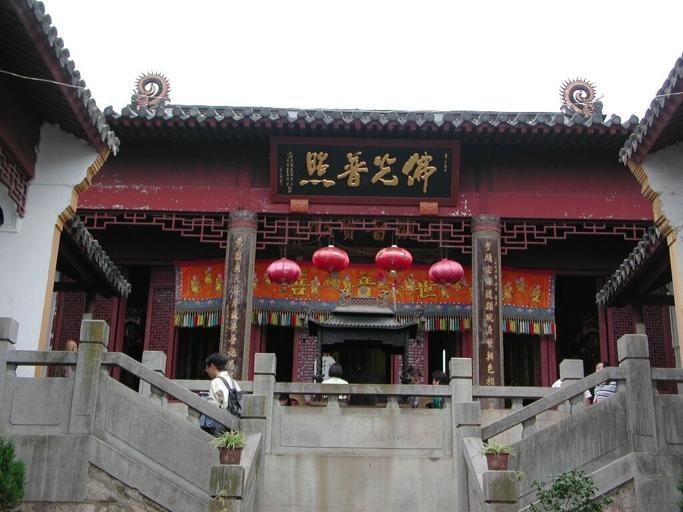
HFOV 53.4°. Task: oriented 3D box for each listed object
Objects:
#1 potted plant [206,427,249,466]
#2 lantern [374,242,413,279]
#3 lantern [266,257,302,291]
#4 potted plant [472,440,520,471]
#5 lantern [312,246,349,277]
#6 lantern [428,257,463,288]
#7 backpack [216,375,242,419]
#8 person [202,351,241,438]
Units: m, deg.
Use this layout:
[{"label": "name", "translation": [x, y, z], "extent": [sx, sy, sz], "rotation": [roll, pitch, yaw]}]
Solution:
[{"label": "potted plant", "translation": [-1.227, 2.073, 7.363], "extent": [0.353, 0.322, 0.378], "rotation": [1, -23, -3]}, {"label": "lantern", "translation": [0.936, 0.064, 12.109], "extent": [0.525, 0.454, 0.536], "rotation": [-3, -17, 16]}, {"label": "lantern", "translation": [-1.079, 0.348, 12.752], "extent": [0.522, 0.598, 0.539], "rotation": [-3, -7, 1]}, {"label": "potted plant", "translation": [1.766, 2.247, 7.543], "extent": [0.379, 0.285, 0.389], "rotation": [14, -20, -27]}, {"label": "lantern", "translation": [-0.184, -0.030, 12.422], "extent": [0.567, 0.586, 0.577], "rotation": [-3, -22, 13]}, {"label": "lantern", "translation": [1.970, 0.302, 12.705], "extent": [0.490, 0.473, 0.514], "rotation": [-6, -3, 21]}, {"label": "backpack", "translation": [-1.380, 1.725, 8.377], "extent": [0.301, 0.481, 0.135], "rotation": [4, -21, -6]}, {"label": "person", "translation": [-1.567, 1.740, 8.575], "extent": [0.512, 0.968, 0.579], "rotation": [-8, -18, 7]}]
